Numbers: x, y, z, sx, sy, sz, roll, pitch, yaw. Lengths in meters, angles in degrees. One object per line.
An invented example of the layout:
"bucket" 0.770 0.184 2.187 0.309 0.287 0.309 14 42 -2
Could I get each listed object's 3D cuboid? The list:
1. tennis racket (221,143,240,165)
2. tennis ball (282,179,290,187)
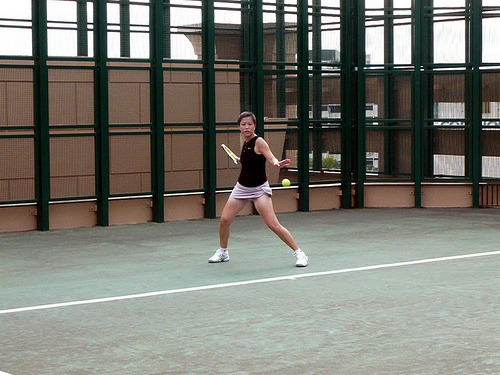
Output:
"tennis racket" -0.533 -0.851 13.476 0.245 0.176 1.251 -26 27 -1
"tennis ball" 0.533 -0.070 8.042 0.094 0.106 0.101 -20 5 2
